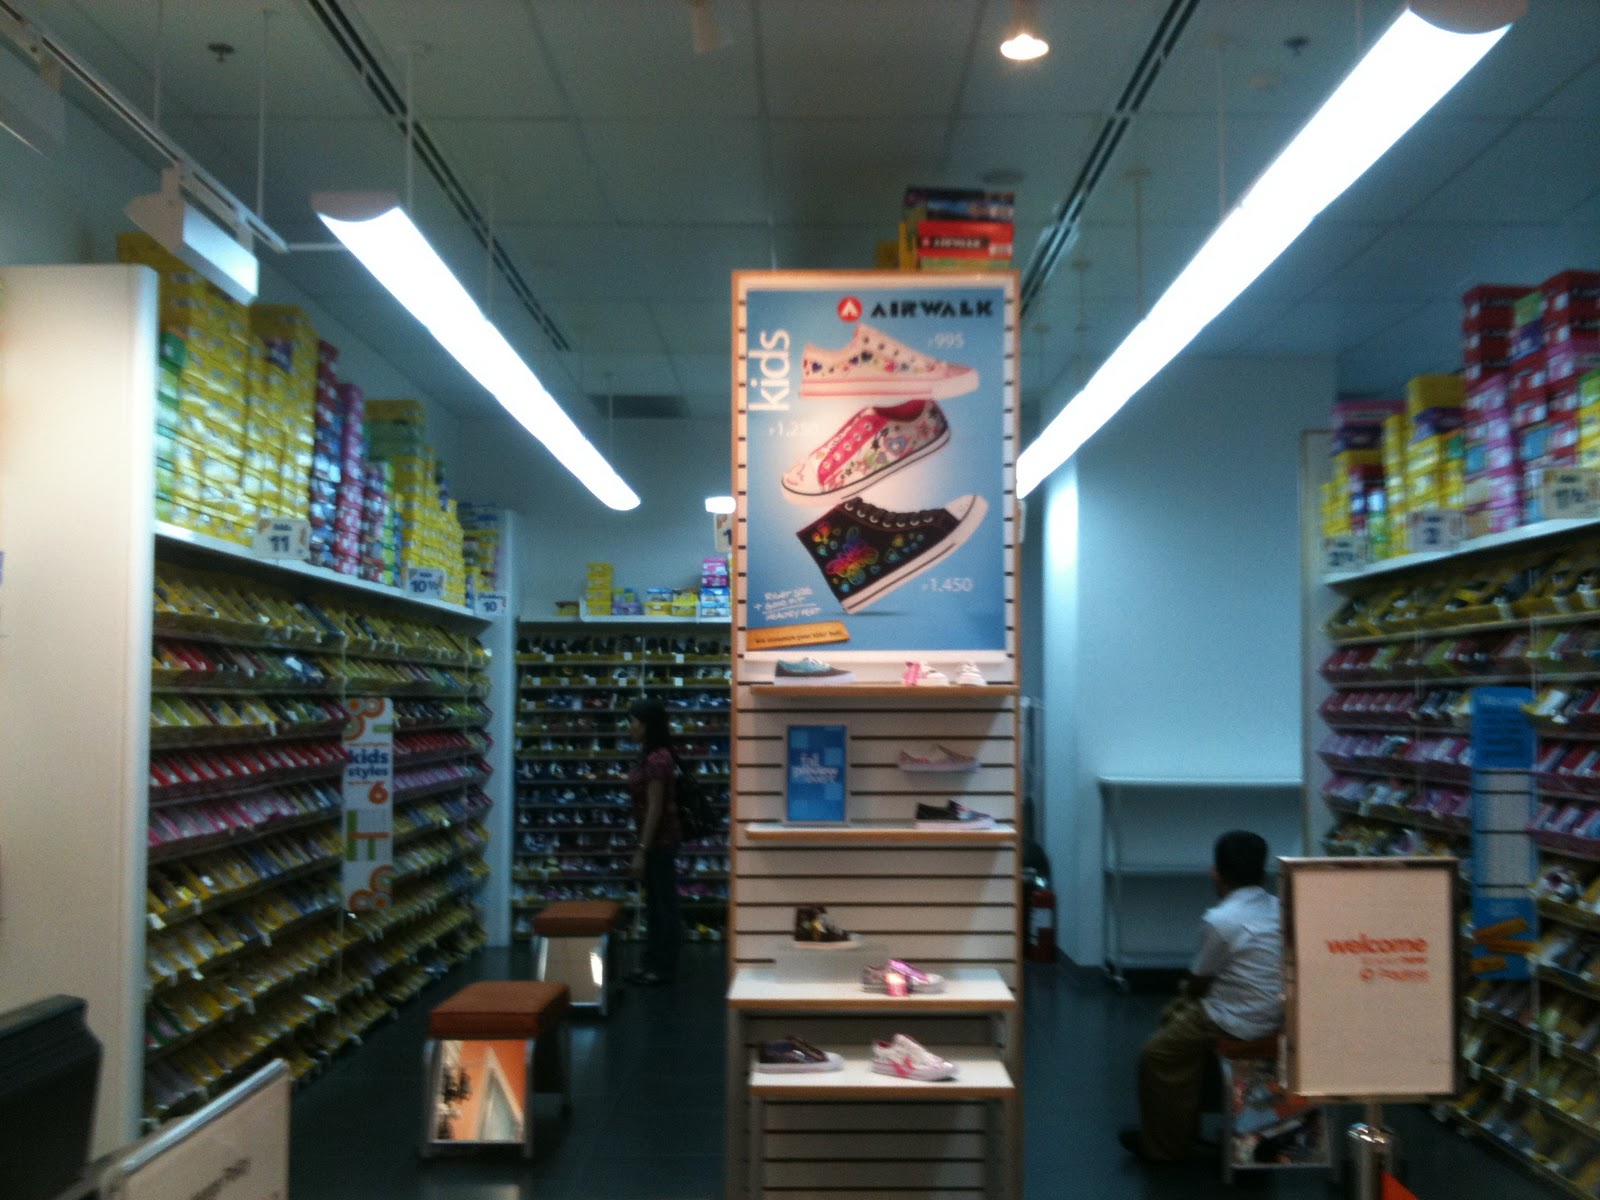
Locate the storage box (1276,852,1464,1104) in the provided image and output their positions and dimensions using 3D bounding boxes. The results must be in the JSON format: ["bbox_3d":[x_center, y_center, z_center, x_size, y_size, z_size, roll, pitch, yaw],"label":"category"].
[{"bbox_3d":[1.605,1.064,3.874,0.508,0.689,0.375,0,-2,1],"label":"storage box"}]

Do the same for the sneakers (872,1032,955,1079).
[{"bbox_3d":[0.441,1.718,5.000,0.311,0.136,0.123,-6,-9,42],"label":"sneakers"}]

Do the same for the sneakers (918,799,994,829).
[{"bbox_3d":[0.632,0.877,5.393,0.376,0.141,0.114,0,-7,2],"label":"sneakers"}]

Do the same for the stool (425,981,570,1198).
[{"bbox_3d":[-1.534,2.399,6.799,0.575,0.701,0.991,-1,-8,2],"label":"stool"}]

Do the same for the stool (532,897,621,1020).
[{"bbox_3d":[-1.427,2.320,8.507,0.493,0.666,0.558,0,-1,-5],"label":"stool"}]

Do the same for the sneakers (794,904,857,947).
[{"bbox_3d":[0.108,1.303,5.305,0.161,0.097,0.165,-5,-11,36],"label":"sneakers"}]

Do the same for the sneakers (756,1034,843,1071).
[{"bbox_3d":[0.003,1.721,5.018,0.226,0.081,0.132,1,-8,1],"label":"sneakers"}]

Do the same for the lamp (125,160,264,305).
[{"bbox_3d":[-2.559,-1.581,5.581,0.231,0.441,0.684,0,-2,7],"label":"lamp"}]

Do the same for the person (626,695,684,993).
[{"bbox_3d":[-0.989,1.712,9.202,0.337,1.979,0.706,0,-1,-7],"label":"person"}]

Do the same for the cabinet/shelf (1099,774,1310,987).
[{"bbox_3d":[2.930,1.955,9.253,1.520,1.356,0.563,1,-6,-3],"label":"cabinet/shelf"}]
